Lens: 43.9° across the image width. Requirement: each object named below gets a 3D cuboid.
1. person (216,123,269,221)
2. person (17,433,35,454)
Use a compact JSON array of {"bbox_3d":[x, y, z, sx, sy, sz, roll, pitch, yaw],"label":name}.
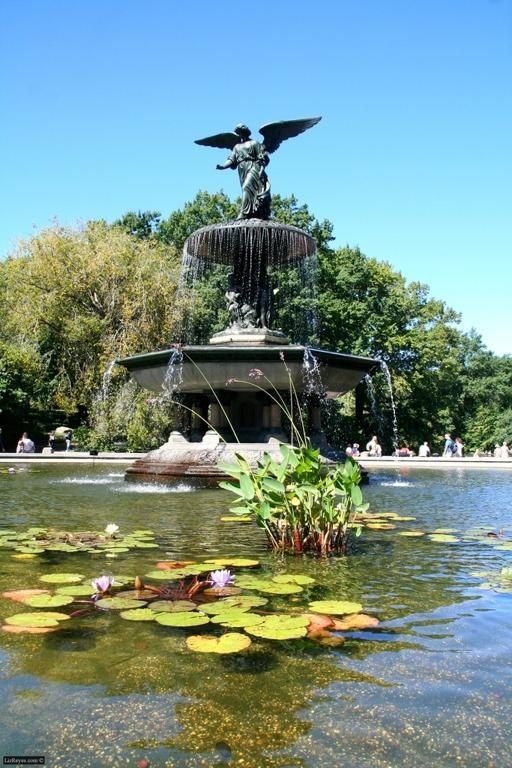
[{"bbox_3d":[-0.177,-4.896,14.882,0.968,2.378,0.679,-1,-4,-4],"label":"person"},{"bbox_3d":[-8.551,2.224,23.715,0.489,0.762,2.041,1,-5,-22],"label":"person"}]
